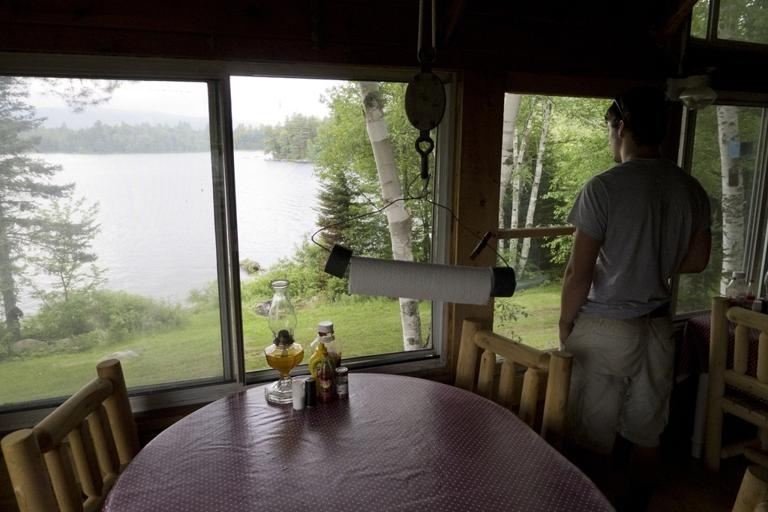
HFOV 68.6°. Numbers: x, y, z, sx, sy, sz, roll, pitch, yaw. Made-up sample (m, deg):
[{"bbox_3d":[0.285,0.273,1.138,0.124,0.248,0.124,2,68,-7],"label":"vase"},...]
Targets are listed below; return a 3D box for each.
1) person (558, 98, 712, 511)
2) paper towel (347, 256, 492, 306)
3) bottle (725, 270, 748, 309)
[{"bbox_3d":[1.257,0.271,2.877,0.715,2.159,0.331,-8,10,-23],"label":"person"},{"bbox_3d":[0.153,0.107,2.388,0.756,0.195,0.225,4,6,-1],"label":"paper towel"},{"bbox_3d":[2.249,0.217,3.581,0.135,0.217,0.136,5,1,0],"label":"bottle"}]
